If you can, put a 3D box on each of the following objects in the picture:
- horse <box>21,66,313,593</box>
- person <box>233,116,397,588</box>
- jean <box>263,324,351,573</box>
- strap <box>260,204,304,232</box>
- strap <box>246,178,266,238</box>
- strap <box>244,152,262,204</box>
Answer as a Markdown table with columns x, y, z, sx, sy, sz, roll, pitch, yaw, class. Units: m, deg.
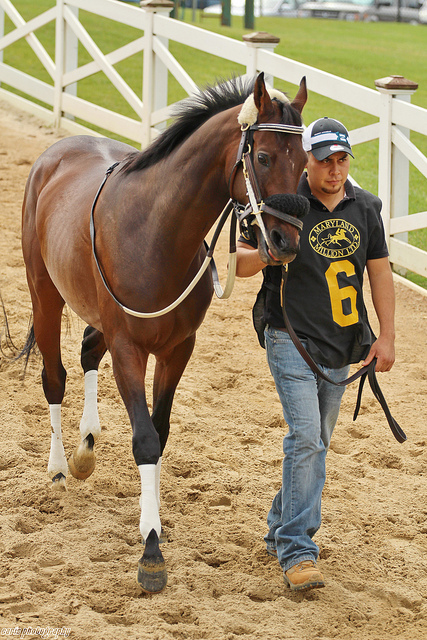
| x | y | z | sx | sy | sz | roll | pitch | yaw | class |
| --- | --- | --- | --- | --- | --- | --- | --- | --- | --- |
| -0.365 | -0.016 | 3.741 | 0.669 | 1.950 | 2.384 | -1 | 10 | -26 | horse |
| 0.426 | 0.105 | 3.195 | 0.557 | 1.678 | 0.721 | 5 | 18 | 1 | person |
| 0.313 | 0.529 | 3.268 | 0.350 | 0.973 | 0.503 | 6 | 17 | 7 | jean |
| 0.223 | -0.327 | 2.714 | 0.101 | 0.021 | 0.088 | 22 | -3 | -11 | strap |
| 0.134 | -0.381 | 2.755 | 0.037 | 0.234 | 0.014 | -14 | 8 | 23 | strap |
| 0.130 | -0.466 | 2.763 | 0.031 | 0.201 | 0.031 | 2 | -25 | -41 | strap |
